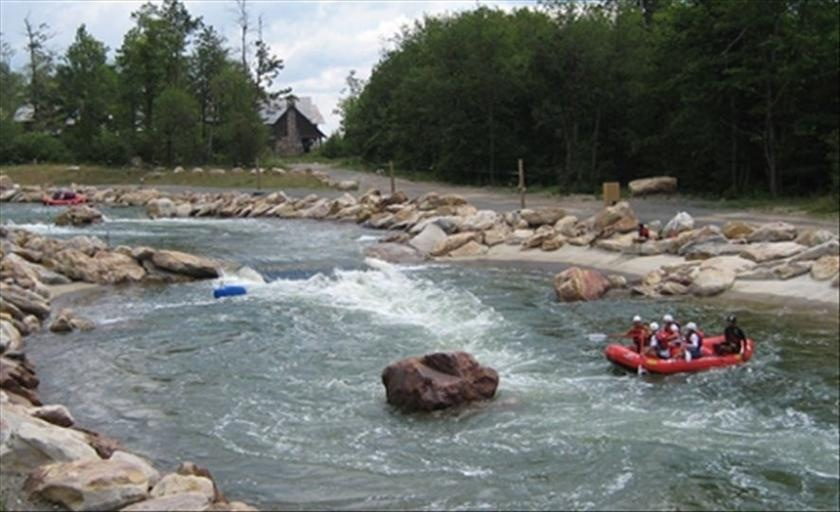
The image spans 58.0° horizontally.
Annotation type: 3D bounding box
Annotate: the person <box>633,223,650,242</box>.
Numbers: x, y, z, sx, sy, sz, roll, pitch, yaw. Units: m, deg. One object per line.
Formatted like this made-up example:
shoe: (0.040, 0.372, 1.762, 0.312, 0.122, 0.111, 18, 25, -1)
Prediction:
person: (10.414, -1.117, 35.694, 0.833, 0.899, 0.839, -5, 7, -42)

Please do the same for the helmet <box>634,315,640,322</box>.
helmet: (7.758, 2.229, 27.193, 0.260, 0.193, 0.324, -1, -1, -2)

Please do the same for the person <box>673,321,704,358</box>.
person: (9.398, 3.004, 26.069, 0.864, 1.310, 0.755, -7, 5, 25)

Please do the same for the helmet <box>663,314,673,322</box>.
helmet: (8.678, 2.226, 26.579, 0.376, 0.223, 0.505, 10, 13, 30)

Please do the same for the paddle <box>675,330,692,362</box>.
paddle: (9.058, 3.086, 26.066, 0.563, 0.930, 0.466, -8, -10, 9)

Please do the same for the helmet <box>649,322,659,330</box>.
helmet: (8.200, 2.460, 26.653, 0.226, 0.189, 0.176, -9, 25, -22)

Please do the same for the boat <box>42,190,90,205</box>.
boat: (-26.829, -4.247, 56.978, 2.330, 0.655, 2.004, -2, 11, -20)

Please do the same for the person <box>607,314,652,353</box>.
person: (7.709, 2.869, 26.952, 1.540, 2.043, 0.559, 1, 41, 28)

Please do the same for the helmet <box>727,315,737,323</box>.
helmet: (10.859, 2.183, 26.457, 0.236, 0.249, 0.291, 8, 27, 22)
